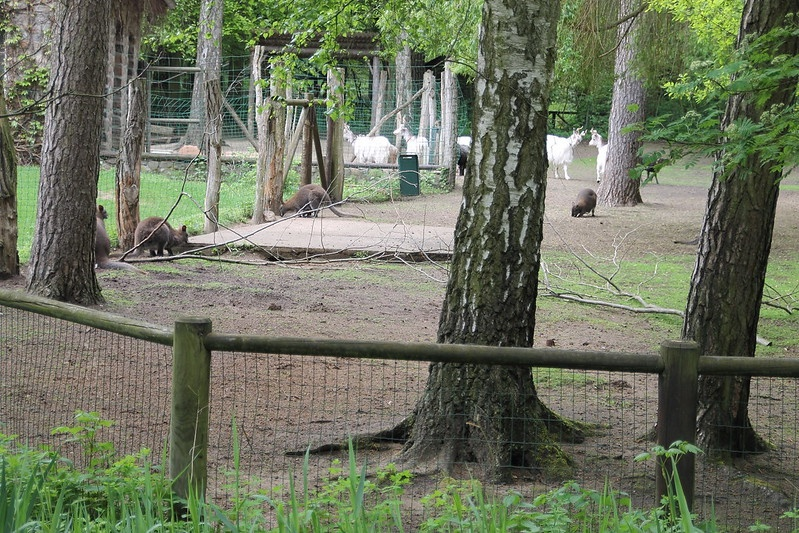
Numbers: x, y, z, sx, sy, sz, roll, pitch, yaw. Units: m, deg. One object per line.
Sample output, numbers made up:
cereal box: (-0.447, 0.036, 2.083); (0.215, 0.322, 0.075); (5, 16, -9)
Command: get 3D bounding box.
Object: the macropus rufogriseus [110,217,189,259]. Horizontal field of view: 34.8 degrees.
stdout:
macropus rufogriseus: (-4.178, -0.487, 22.160); (0.587, 0.686, 1.245); (-2, -1, 42)
